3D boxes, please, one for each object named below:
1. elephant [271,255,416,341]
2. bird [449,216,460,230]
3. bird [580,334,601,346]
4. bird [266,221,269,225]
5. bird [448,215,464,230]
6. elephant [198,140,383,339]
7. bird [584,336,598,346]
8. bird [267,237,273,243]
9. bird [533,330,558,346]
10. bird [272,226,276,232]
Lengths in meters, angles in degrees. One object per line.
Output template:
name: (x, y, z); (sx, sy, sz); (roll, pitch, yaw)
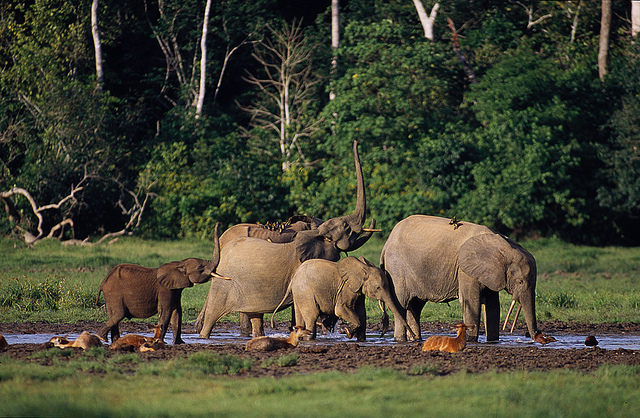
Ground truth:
elephant: (0.908, 2.907, 52.381); (4.262, 3.360, 2.054); (-1, 0, -5)
bird: (4.497, 0.563, 52.431); (0.244, 0.439, 0.136); (6, 4, 11)
bird: (8.867, 4.286, 51.185); (0.620, 0.400, 0.284); (-2, 7, -43)
bird: (-1.792, 0.572, 54.647); (0.121, 0.150, 0.035); (11, 4, 32)
bird: (4.634, 0.563, 53.373); (0.394, 0.506, 0.177); (-1, 0, 7)
elephant: (-0.148, 2.057, 51.360); (7.131, 8.789, 3.379); (-4, 4, -8)
bird: (8.794, 4.299, 50.981); (0.296, 0.282, 0.251); (5, -18, -7)
bird: (-1.658, 1.123, 52.450); (0.120, 0.146, 0.032); (20, 41, 34)
bird: (7.308, 4.173, 51.075); (0.721, 0.459, 0.514); (0, 2, 9)
bird: (-1.521, 0.747, 52.615); (0.122, 0.150, 0.070); (7, 8, 35)
